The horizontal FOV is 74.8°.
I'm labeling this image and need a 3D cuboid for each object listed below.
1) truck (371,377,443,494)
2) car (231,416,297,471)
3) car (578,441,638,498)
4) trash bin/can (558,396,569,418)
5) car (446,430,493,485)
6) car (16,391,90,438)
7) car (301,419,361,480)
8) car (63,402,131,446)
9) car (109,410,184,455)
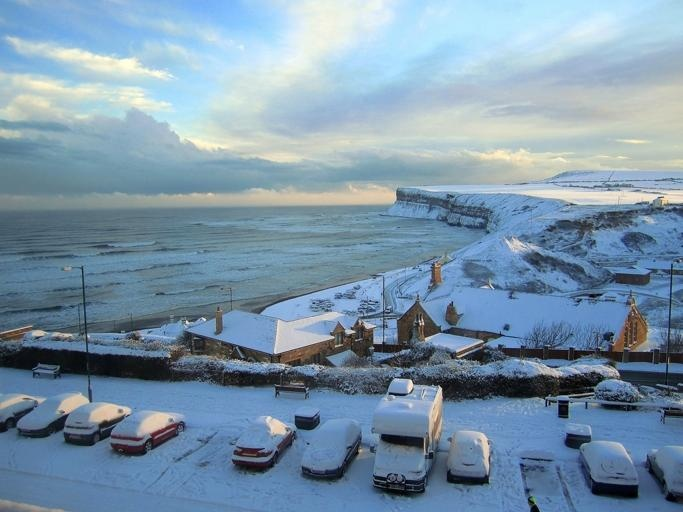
[{"bbox_3d":[3.251,8.594,23.302,2.831,2.538,5.576,1,5,17],"label":"truck"},{"bbox_3d":[-4.327,9.965,24.859,2.578,1.501,4.868,5,1,11],"label":"car"},{"bbox_3d":[12.547,9.988,20.734,1.870,1.186,2.963,0,2,10],"label":"car"},{"bbox_3d":[13.739,9.344,27.588,0.694,1.116,0.922,3,11,24],"label":"trash bin/can"},{"bbox_3d":[6.289,9.995,22.152,1.992,1.816,1.744,1,10,13],"label":"car"},{"bbox_3d":[-17.518,9.480,26.929,2.330,1.371,3.622,1,2,14],"label":"car"},{"bbox_3d":[-0.567,9.984,23.865,2.764,1.493,4.697,3,3,15],"label":"car"},{"bbox_3d":[-14.435,9.670,26.467,2.189,1.389,3.697,0,-2,10],"label":"car"},{"bbox_3d":[-11.119,9.890,25.677,2.426,1.429,4.010,-1,-3,15],"label":"car"}]
